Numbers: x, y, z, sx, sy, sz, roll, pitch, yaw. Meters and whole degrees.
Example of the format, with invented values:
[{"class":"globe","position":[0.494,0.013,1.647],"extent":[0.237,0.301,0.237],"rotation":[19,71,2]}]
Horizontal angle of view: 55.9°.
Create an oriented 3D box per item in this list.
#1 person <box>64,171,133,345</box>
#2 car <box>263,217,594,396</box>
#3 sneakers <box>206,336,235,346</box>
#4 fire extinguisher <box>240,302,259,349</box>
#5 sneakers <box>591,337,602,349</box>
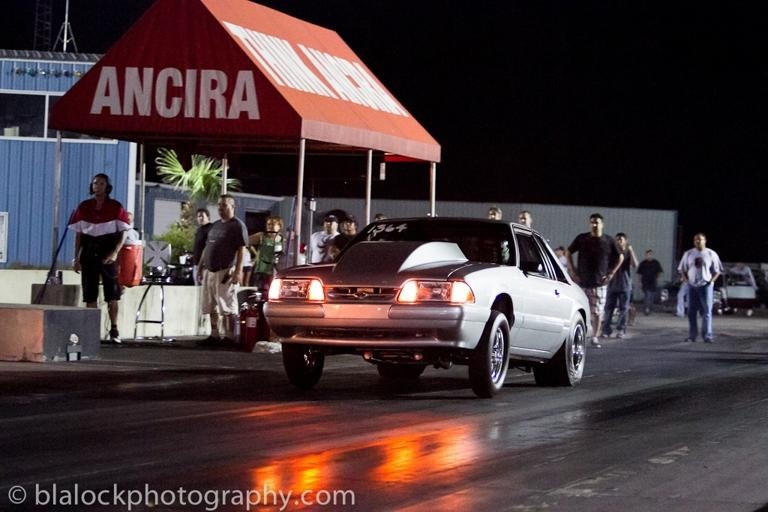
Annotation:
[{"class":"person","position":[-5.040,0.049,12.821],"extent":[0.989,3.006,0.999],"rotation":[-3,-4,43]},{"class":"car","position":[0.696,0.604,9.037],"extent":[4.011,2.284,2.029],"rotation":[2,-4,-38]},{"class":"sneakers","position":[-3.024,1.587,13.499],"extent":[0.400,0.168,0.151],"rotation":[10,-1,-2]},{"class":"fire extinguisher","position":[-2.403,1.264,12.850],"extent":[0.217,0.780,0.470],"rotation":[2,-4,-42]},{"class":"sneakers","position":[4.574,1.865,15.651],"extent":[0.142,0.172,0.399],"rotation":[-2,-5,8]}]
